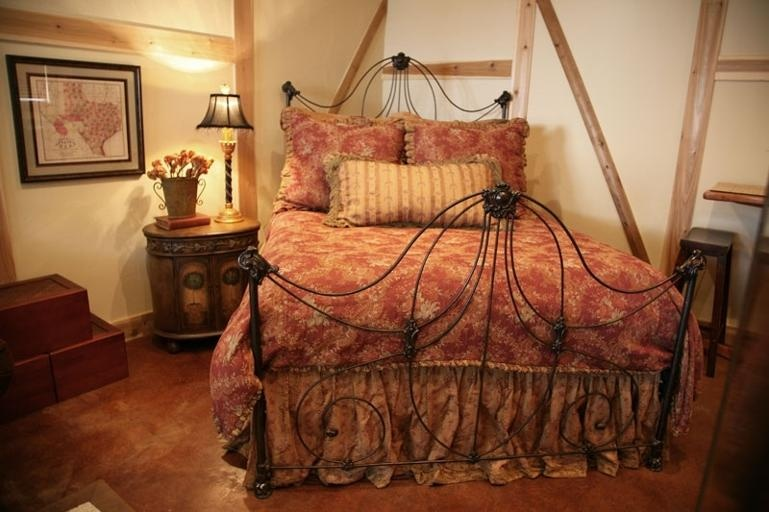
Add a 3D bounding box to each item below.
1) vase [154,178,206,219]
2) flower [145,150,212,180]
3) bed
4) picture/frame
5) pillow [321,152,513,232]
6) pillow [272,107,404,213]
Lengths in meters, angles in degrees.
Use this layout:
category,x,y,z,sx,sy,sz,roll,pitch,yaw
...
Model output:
category,x,y,z,sx,sy,sz,roll,pitch,yaw
vase,-1.334,-0.388,3.897,0.349,0.259,0.245,2,18,7
flower,-1.343,-0.578,3.876,0.375,0.194,0.340,-17,22,-42
bed,0.386,-0.055,3.750,1.590,1.386,2.194,-2,21,-5
picture/frame,-1.858,-0.826,3.558,0.738,0.765,0.054,-8,15,-39
pillow,0.183,-0.398,3.758,1.129,0.455,0.424,-1,18,-6
pillow,-0.294,-0.602,3.848,0.796,0.827,0.236,6,-2,-7
